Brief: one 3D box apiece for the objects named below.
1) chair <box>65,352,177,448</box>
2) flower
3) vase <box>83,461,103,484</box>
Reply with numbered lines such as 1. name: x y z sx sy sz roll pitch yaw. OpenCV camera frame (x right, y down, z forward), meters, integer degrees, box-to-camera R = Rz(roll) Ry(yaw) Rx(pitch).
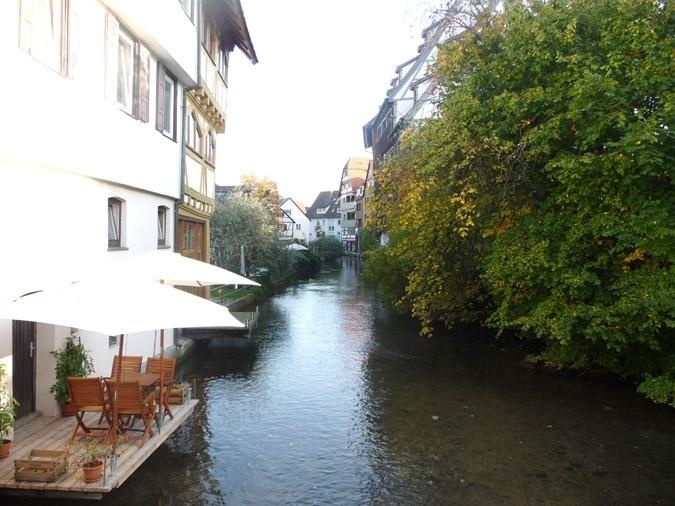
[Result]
1. chair: -3.734 2.545 9.909 1.067 0.944 1.899 2 0 -1
2. flower: -3.718 3.101 8.337 0.578 0.424 0.740 3 -5 -4
3. vase: -3.503 3.126 7.849 0.246 0.208 0.250 5 -8 -33
